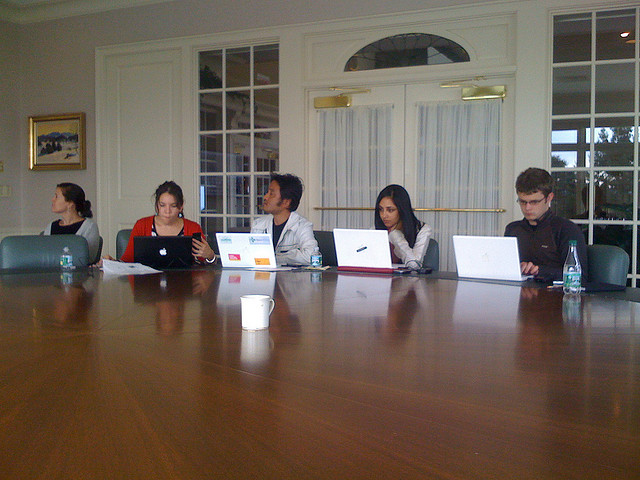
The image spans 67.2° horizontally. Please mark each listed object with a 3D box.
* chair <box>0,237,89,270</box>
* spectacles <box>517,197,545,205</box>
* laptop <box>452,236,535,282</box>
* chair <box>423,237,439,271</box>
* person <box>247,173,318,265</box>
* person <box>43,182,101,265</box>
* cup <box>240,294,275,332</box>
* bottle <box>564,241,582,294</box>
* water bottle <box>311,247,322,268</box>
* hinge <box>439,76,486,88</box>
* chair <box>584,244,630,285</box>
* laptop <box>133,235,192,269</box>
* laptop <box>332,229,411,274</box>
[{"bbox_3d":[-2.009,0.090,3.514,0.597,0.203,0.185,-2,7,-14],"label":"chair"},{"bbox_3d":[1.410,-0.265,3.284,0.090,0.051,0.197,-5,9,-33],"label":"spectacles"},{"bbox_3d":[0.962,0.069,2.742,0.362,0.297,0.234,1,5,35],"label":"laptop"},{"bbox_3d":[0.801,0.114,3.501,0.106,0.216,0.314,2,7,12],"label":"chair"},{"bbox_3d":[-0.282,-0.179,4.029,0.500,0.925,0.756,8,2,-23],"label":"person"},{"bbox_3d":[-2.268,-0.081,4.348,0.553,0.806,0.449,0,-1,7],"label":"person"},{"bbox_3d":[-0.217,0.272,1.720,0.123,0.113,0.099,9,-13,-42],"label":"cup"},{"bbox_3d":[1.272,0.133,2.419,0.084,0.250,0.226,4,8,28],"label":"bottle"},{"bbox_3d":[-0.028,0.137,3.395,0.088,0.163,0.092,0,-6,0],"label":"water bottle"},{"bbox_3d":[1.363,-1.503,4.625,0.419,0.103,0.048,2,7,15],"label":"hinge"},{"bbox_3d":[1.703,0.175,2.910,0.249,0.302,0.232,6,-9,-39],"label":"chair"},{"bbox_3d":[-1.071,0.081,3.254,0.311,0.227,0.229,1,5,-12],"label":"laptop"},{"bbox_3d":[0.282,0.082,3.054,0.327,0.231,0.345,-5,-6,35],"label":"laptop"}]
